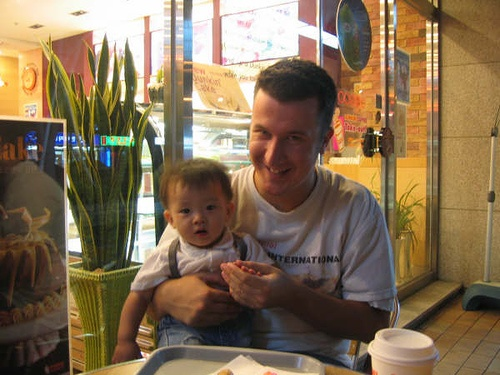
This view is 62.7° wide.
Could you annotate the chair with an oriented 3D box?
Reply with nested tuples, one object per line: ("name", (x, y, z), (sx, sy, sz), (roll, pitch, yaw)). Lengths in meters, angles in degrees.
("chair", (0.533, 0.614, 1.903), (0.166, 0.233, 0.240), (6, 52, 21))

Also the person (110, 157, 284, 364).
("person", (-0.205, 0.465, 1.751), (0.694, 1.128, 0.549), (-4, 3, -21))
